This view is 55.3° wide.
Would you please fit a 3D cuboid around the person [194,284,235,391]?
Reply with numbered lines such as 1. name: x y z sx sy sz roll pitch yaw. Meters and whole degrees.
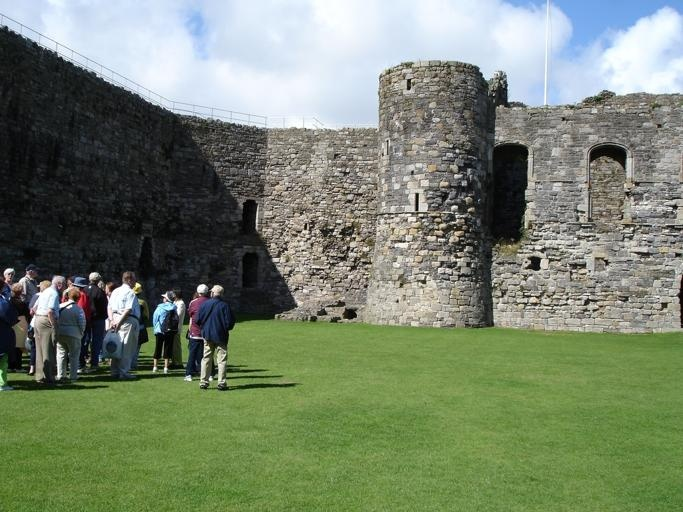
1. person: -2.291 1.455 11.756 0.633 1.798 0.816 0 4 -14

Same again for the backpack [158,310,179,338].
1. backpack: -3.550 1.337 13.154 0.491 0.534 0.400 2 -5 -20

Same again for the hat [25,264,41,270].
1. hat: -7.562 0.272 16.043 0.314 0.179 0.223 -1 4 -18

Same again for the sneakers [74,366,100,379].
1. sneakers: -4.983 2.322 12.991 0.541 0.222 0.172 -4 0 4
